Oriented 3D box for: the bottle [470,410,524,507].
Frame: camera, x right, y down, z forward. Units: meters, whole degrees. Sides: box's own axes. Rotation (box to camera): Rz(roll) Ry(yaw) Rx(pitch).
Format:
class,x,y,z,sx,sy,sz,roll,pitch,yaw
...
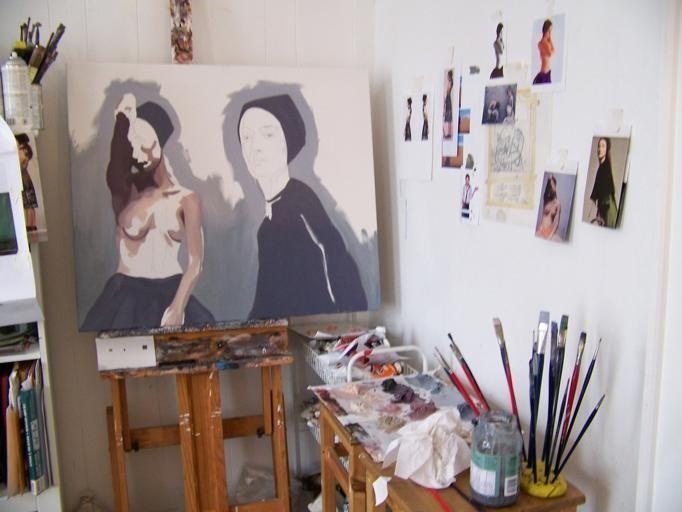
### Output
class,x,y,z,sx,sy,sz,roll,pitch,yaw
bottle,0.406,0.523,1.442,0.133,0.232,0.130,-4,5,0
